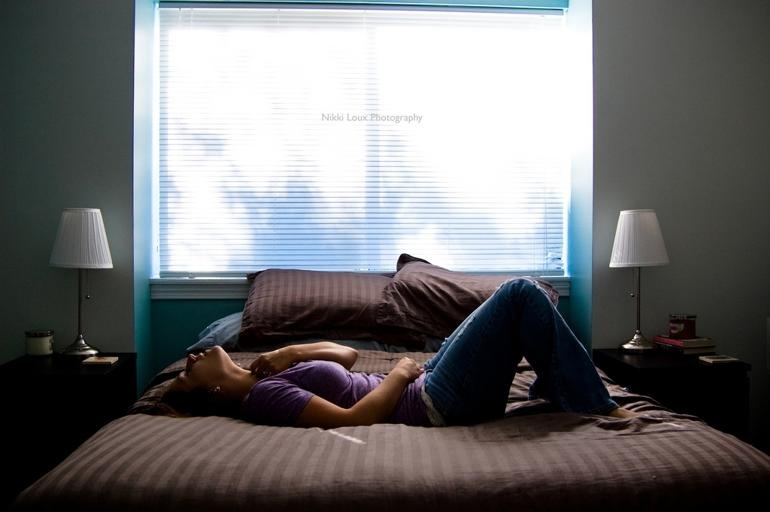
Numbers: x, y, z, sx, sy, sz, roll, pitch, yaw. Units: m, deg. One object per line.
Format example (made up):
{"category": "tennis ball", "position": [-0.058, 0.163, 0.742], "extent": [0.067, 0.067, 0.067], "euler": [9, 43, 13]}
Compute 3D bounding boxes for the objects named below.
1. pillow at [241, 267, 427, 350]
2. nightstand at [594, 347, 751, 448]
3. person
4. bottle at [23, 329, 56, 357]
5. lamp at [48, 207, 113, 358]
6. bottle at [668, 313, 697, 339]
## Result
{"category": "pillow", "position": [-0.437, 0.323, 3.747], "extent": [0.762, 0.202, 0.585], "euler": [2, 28, -1]}
{"category": "nightstand", "position": [1.767, 0.753, 3.672], "extent": [0.724, 0.659, 0.504], "euler": [0, 7, -1]}
{"category": "person", "position": [0.035, 0.570, 3.077], "extent": [2.258, 0.685, 0.847], "euler": [-4, -8, 2]}
{"category": "bottle", "position": [-2.132, 0.542, 3.694], "extent": [0.160, 0.134, 0.146], "euler": [1, -1, 0]}
{"category": "lamp", "position": [-1.905, 0.152, 3.740], "extent": [0.341, 0.909, 0.367], "euler": [-3, 4, -20]}
{"category": "bottle", "position": [1.876, 0.442, 3.751], "extent": [0.153, 0.131, 0.158], "euler": [-4, -8, 39]}
